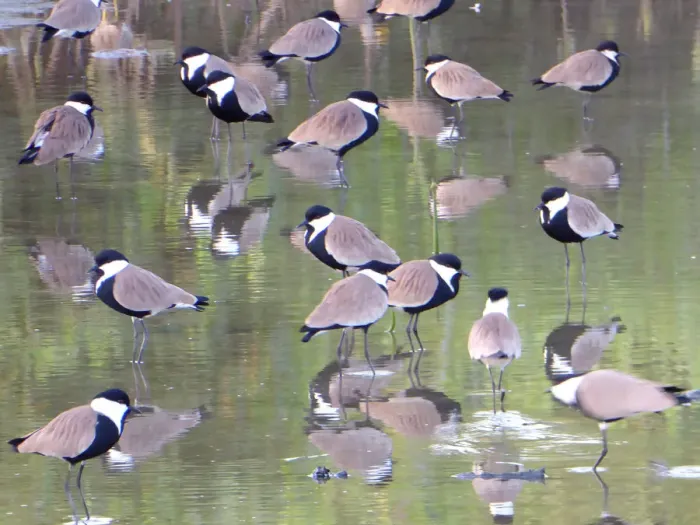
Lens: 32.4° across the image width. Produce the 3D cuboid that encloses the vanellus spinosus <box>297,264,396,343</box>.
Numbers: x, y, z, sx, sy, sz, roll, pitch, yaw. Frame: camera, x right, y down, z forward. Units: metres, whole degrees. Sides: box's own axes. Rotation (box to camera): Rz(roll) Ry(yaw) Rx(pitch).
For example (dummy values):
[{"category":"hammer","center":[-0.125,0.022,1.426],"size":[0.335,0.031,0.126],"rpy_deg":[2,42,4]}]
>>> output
[{"category":"vanellus spinosus","center":[-0.094,0.364,11.283],"size":[1.090,0.568,0.496],"rpy_deg":[-13,27,-27]}]

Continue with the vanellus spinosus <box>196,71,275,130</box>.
[{"category":"vanellus spinosus","center":[-1.621,-2.277,16.672],"size":[0.500,0.554,0.885],"rpy_deg":[-23,-30,36]}]

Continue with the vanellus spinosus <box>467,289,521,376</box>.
[{"category":"vanellus spinosus","center":[1.286,0.569,10.792],"size":[0.399,0.790,0.354],"rpy_deg":[8,-29,-20]}]
